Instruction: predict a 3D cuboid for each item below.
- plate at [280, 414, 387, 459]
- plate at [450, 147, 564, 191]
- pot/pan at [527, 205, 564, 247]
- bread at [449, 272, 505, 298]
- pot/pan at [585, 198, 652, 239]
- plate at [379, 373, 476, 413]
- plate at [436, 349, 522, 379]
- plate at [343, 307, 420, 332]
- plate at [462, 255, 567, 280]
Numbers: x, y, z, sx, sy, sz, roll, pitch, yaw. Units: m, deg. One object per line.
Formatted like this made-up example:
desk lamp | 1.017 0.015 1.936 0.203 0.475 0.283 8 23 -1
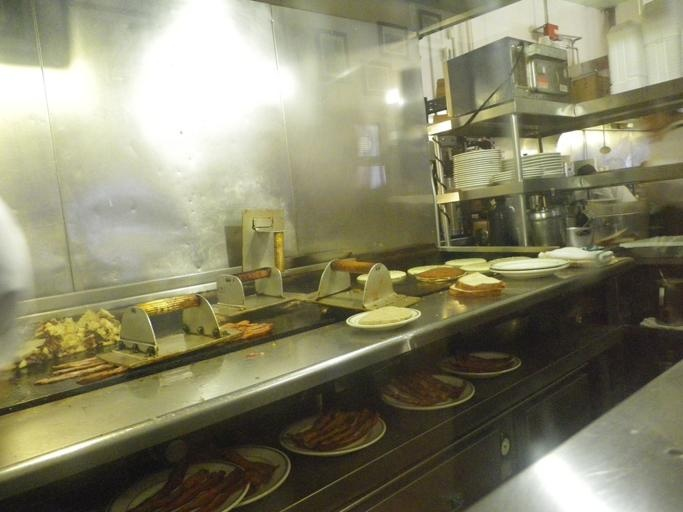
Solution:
plate | -0.040 0.607 1.761 0.196 0.030 0.183 -5 6 7
plate | 0.896 -0.499 2.954 0.345 0.121 0.305 -2 -3 -38
pot/pan | 1.020 -0.147 2.589 0.038 0.195 0.206 -13 8 -26
bread | 0.551 0.118 2.142 0.200 0.080 0.193 -10 6 -21
pot/pan | 1.188 -0.168 2.233 0.163 0.189 0.276 -15 14 -29
plate | 0.339 0.520 2.006 0.188 0.021 0.174 -6 9 -23
plate | 0.618 0.450 2.260 0.290 0.072 0.317 -2 8 39
plate | 0.142 0.216 1.812 0.237 0.062 0.199 -5 6 16
plate | 0.838 0.049 2.407 0.340 0.075 0.372 -11 7 -34
